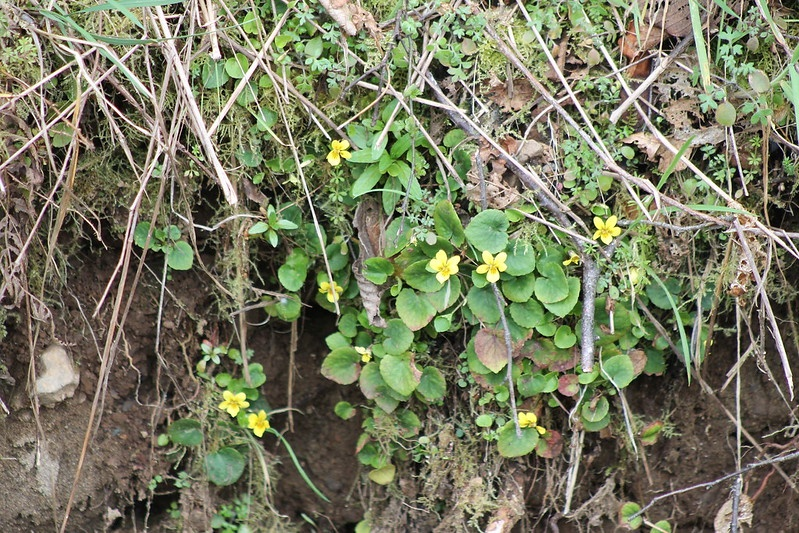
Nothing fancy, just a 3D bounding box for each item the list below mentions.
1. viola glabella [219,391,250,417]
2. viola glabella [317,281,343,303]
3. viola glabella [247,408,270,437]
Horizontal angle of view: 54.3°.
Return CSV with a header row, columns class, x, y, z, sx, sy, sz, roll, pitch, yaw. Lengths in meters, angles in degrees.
class,x,y,z,sx,sy,sz,roll,pitch,yaw
viola glabella,-0.716,0.579,3.346,0.114,0.113,0.034,49,8,-4
viola glabella,-0.291,0.103,3.262,0.092,0.092,0.036,32,-16,-26
viola glabella,-0.611,0.667,3.341,0.108,0.115,0.034,-4,9,2
